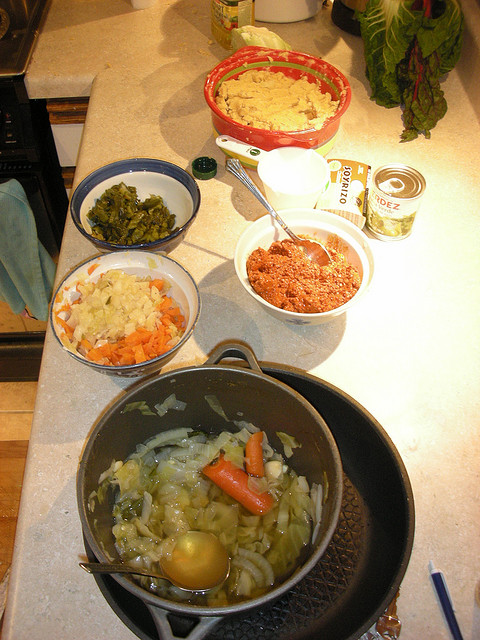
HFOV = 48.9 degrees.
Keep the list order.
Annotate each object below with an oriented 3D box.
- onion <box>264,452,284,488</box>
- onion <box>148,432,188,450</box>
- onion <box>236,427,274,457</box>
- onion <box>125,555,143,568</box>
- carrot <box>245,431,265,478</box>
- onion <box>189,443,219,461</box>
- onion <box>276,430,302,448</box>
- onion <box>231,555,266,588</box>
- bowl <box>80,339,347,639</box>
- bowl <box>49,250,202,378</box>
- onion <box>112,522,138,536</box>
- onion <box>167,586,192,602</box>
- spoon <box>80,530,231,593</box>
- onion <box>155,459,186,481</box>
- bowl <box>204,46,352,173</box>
[{"bbox_3d":[0.055,0.252,0.873,0.035,0.018,0.041,-1,78,19],"label":"onion"},{"bbox_3d":[-0.127,0.204,0.902,0.079,0.024,0.018,-15,16,-8],"label":"onion"},{"bbox_3d":[0.025,0.208,0.897,0.057,0.014,0.036,29,86,-24],"label":"onion"},{"bbox_3d":[-0.153,0.354,0.773,0.017,0.014,0.010,5,95,-12],"label":"onion"},{"bbox_3d":[0.024,0.224,0.905,0.041,0.033,0.113,3,25,3],"label":"carrot"},{"bbox_3d":[-0.063,0.221,0.885,0.037,0.010,0.024,11,44,30],"label":"onion"},{"bbox_3d":[0.081,0.196,0.865,0.010,0.019,0.041,-37,24,-18],"label":"onion"},{"bbox_3d":[0.016,0.376,0.792,0.017,0.048,0.029,-55,23,-10],"label":"onion"},{"bbox_3d":[-0.047,0.253,0.768,0.354,0.194,0.336,1,51,-1],"label":"bowl"},{"bbox_3d":[-0.221,-0.012,1.009,0.268,0.101,0.263,3,53,-4],"label":"bowl"},{"bbox_3d":[-0.176,0.318,0.800,0.025,0.020,0.010,6,89,43],"label":"onion"},{"bbox_3d":[-0.088,0.394,0.757,0.027,0.011,0.030,4,8,-2],"label":"onion"},{"bbox_3d":[-0.116,0.353,0.738,0.188,0.032,0.103,2,29,-35],"label":"spoon"},{"bbox_3d":[-0.115,0.250,0.867,0.051,0.013,0.027,19,53,13],"label":"onion"},{"bbox_3d":[0.090,-0.549,1.372,0.374,0.162,0.362,1,51,-1],"label":"bowl"}]
